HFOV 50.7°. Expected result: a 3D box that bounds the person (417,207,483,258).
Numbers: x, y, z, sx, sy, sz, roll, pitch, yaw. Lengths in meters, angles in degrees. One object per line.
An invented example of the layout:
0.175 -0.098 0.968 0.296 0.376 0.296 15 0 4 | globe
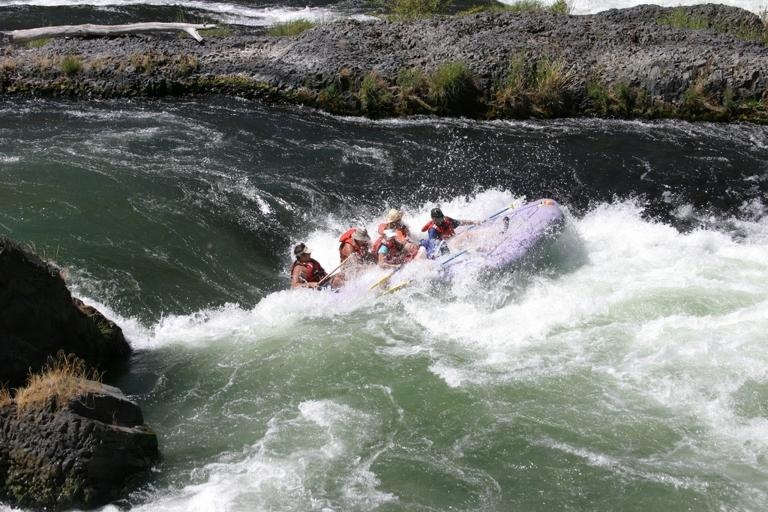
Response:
1.674 -0.577 20.703 0.632 1.172 0.863 6 69 38 | person

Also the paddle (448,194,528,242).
2.748 -0.965 21.073 2.083 0.285 0.357 -30 56 -15 | paddle

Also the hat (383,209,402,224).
0.195 -1.008 20.760 0.364 0.441 0.412 5 74 -1 | hat

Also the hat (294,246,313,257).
-2.014 -0.154 20.026 0.353 0.177 0.250 -18 22 -21 | hat

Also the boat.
2.072 -0.136 19.869 4.578 0.890 2.690 -24 16 13 | boat

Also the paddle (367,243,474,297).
0.866 0.305 19.674 3.002 0.460 0.896 -26 37 -8 | paddle
